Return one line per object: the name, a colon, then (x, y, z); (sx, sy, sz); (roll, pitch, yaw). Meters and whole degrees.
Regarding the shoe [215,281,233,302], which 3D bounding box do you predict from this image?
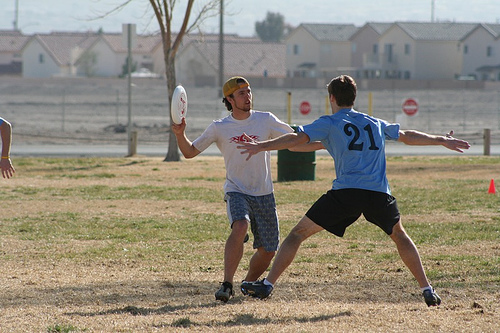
shoe: (-0.841, 4.097, 35.027); (0.540, 0.697, 0.224); (0, 5, -3)
